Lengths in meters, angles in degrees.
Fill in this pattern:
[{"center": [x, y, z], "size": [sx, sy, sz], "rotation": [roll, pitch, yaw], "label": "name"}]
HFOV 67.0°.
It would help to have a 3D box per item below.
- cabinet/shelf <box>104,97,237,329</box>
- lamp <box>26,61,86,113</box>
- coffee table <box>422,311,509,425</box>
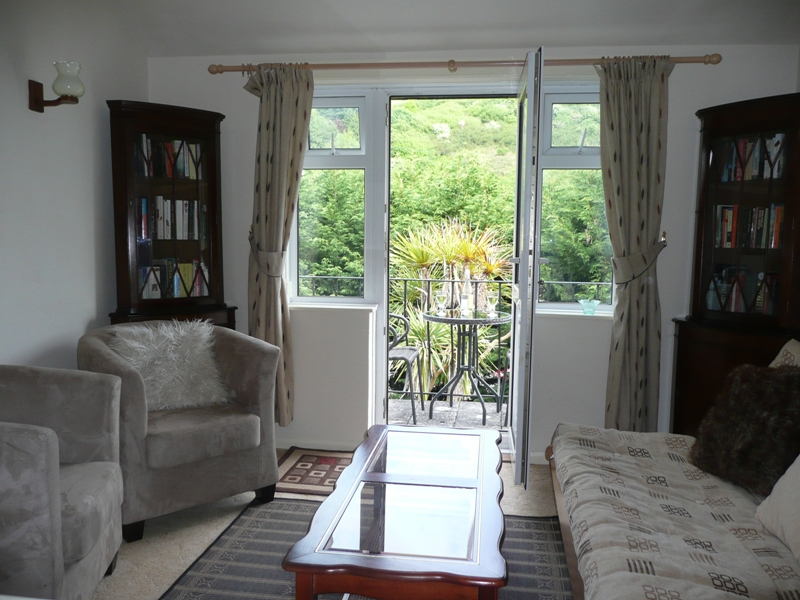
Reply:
[{"center": [-1.492, -0.464, 3.985], "size": [0.669, 1.564, 0.367], "rotation": [-3, 13, -29], "label": "cabinet/shelf"}, {"center": [-1.881, -1.171, 3.357], "size": [0.265, 0.272, 0.167], "rotation": [-4, -2, -13], "label": "lamp"}, {"center": [0.569, 0.566, 5.246], "size": [0.790, 1.038, 0.878], "rotation": [0, -2, 7], "label": "coffee table"}]
